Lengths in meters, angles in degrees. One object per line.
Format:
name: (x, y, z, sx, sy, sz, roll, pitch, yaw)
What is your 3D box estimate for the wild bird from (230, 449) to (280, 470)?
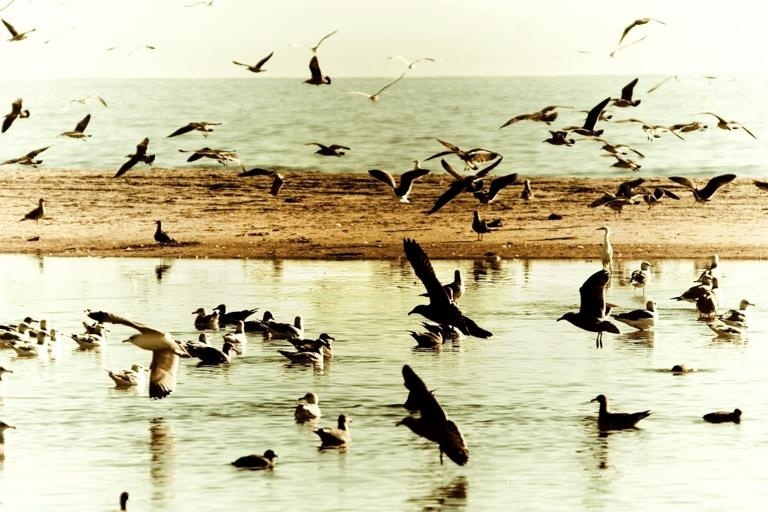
wild bird: (-2.958, 4.639, 32.430, 1.061, 0.348, 0.496, -3, 50, 1)

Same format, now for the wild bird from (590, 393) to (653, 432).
wild bird: (5.787, 3.815, 34.276, 0.647, 1.741, 0.964, -13, 94, -39)
